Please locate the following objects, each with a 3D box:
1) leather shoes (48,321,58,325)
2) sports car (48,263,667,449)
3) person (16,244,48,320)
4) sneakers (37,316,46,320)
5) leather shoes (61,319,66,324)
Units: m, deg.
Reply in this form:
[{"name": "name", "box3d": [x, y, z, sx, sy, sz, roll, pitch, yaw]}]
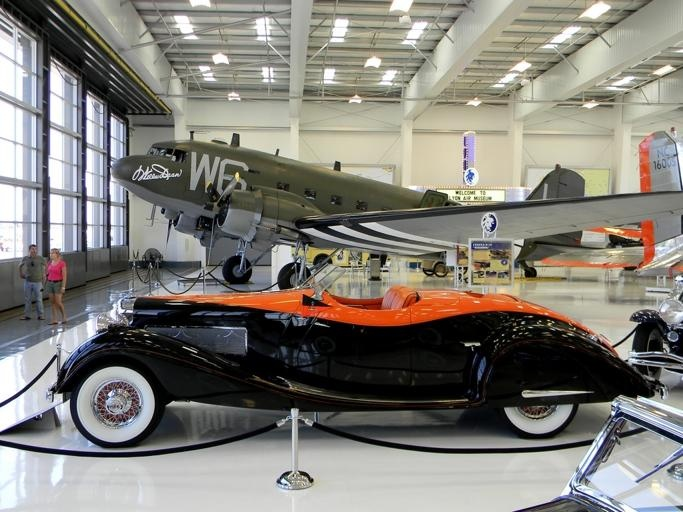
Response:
[{"name": "leather shoes", "box3d": [-5.687, 1.346, 9.885, 0.154, 0.049, 0.079, 2, 0, 19]}, {"name": "sports car", "box3d": [0.077, 1.044, 5.177, 4.964, 1.021, 2.115, 1, -9, -1]}, {"name": "person", "box3d": [-6.394, 0.555, 10.376, 0.473, 1.575, 0.753, -4, 8, -32]}, {"name": "sneakers", "box3d": [-6.206, 1.299, 10.344, 0.084, 0.074, 0.204, 4, -11, -27]}, {"name": "leather shoes", "box3d": [-5.540, 1.340, 9.989, 0.062, 0.051, 0.161, 4, -9, -32]}]
